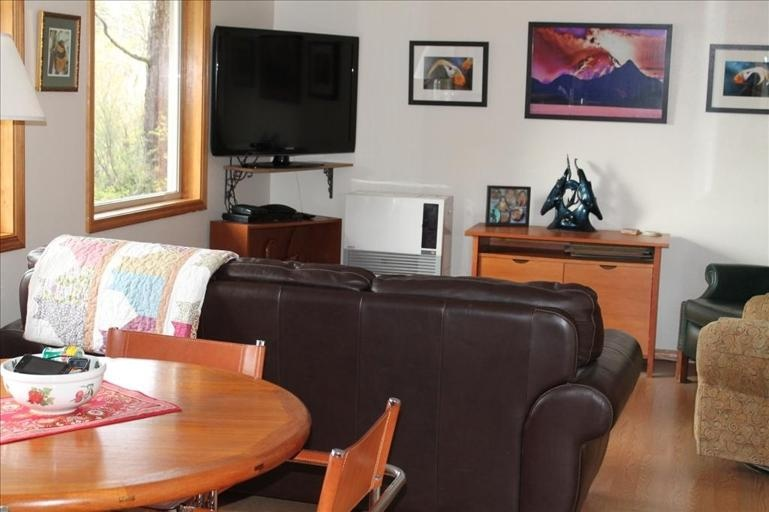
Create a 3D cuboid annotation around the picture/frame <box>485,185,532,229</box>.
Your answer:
[{"bbox_3d":[1.097,-0.426,5.182,0.399,0.363,0.039,2,-2,6],"label":"picture/frame"}]

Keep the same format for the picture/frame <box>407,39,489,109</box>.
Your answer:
[{"bbox_3d":[0.608,-1.677,5.335,0.676,0.519,0.027,2,5,13],"label":"picture/frame"}]

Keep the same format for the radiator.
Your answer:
[{"bbox_3d":[0.179,-0.207,5.454,1.204,1.030,0.709,2,4,11],"label":"radiator"}]

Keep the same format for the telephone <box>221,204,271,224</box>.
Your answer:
[{"bbox_3d":[-1.156,-0.350,4.870,0.348,0.142,0.207,9,13,36],"label":"telephone"}]

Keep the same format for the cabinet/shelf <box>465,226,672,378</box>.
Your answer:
[{"bbox_3d":[1.118,0.234,3.458,1.243,0.833,0.437,1,3,14],"label":"cabinet/shelf"}]
